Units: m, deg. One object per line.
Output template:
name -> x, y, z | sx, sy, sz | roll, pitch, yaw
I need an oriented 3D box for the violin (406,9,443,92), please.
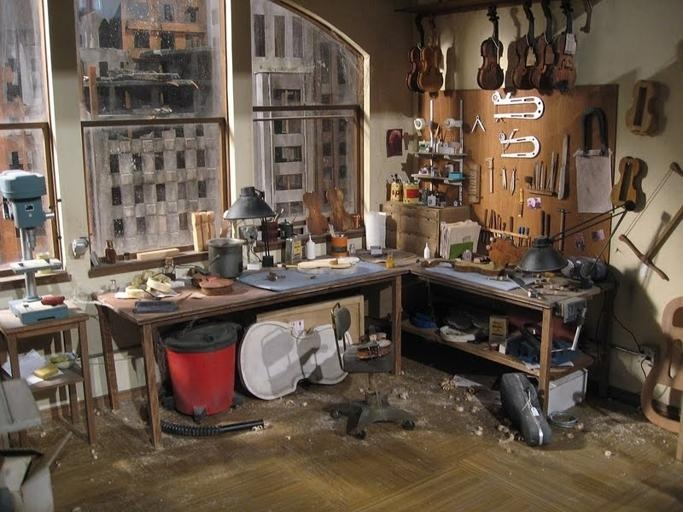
violin -> 0.965, -2.172, 6.263 | 0.257, 0.932, 0.403 | -14, 20, -40

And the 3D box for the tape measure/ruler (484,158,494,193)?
tape measure/ruler -> 1.599, -0.856, 6.090 | 0.094, 0.367, 0.049 | 4, 13, 30

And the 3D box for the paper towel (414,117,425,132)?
paper towel -> 0.920, -1.527, 6.629 | 0.133, 0.141, 0.033 | 10, 10, 42

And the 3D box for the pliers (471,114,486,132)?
pliers -> 1.491, -1.428, 6.118 | 0.013, 0.196, 0.175 | -19, 23, -37

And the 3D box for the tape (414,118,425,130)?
tape -> 0.916, -1.533, 6.625 | 0.028, 0.125, 0.118 | -5, 11, -40

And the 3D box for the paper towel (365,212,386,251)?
paper towel -> 0.374, -0.270, 6.448 | 0.246, 0.413, 0.319 | 0, 11, 12

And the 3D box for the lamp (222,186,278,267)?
lamp -> -0.853, -0.348, 5.483 | 0.446, 0.943, 0.417 | -5, 7, -41

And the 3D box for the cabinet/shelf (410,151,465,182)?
cabinet/shelf -> 1.068, -1.021, 6.521 | 0.265, 0.339, 0.754 | -11, 14, -36

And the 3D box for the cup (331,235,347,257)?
cup -> -0.021, -0.103, 6.143 | 0.185, 0.216, 0.191 | 0, 3, 0

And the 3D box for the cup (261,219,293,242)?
cup -> -0.687, -0.257, 6.007 | 0.315, 0.202, 0.176 | -6, 13, -31

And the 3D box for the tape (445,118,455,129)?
tape -> 1.213, -1.463, 6.285 | 0.039, 0.088, 0.111 | -4, 2, -32

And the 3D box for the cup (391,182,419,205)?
cup -> 0.734, -0.709, 6.573 | 0.247, 0.177, 0.257 | 0, 5, 0

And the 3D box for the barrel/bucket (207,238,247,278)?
barrel/bucket -> -1.103, 0.019, 5.458 | 0.348, 0.326, 0.335 | 1, 7, 0

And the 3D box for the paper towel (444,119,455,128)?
paper towel -> 1.214, -1.451, 6.311 | 0.078, 0.118, 0.044 | -1, 4, 22
